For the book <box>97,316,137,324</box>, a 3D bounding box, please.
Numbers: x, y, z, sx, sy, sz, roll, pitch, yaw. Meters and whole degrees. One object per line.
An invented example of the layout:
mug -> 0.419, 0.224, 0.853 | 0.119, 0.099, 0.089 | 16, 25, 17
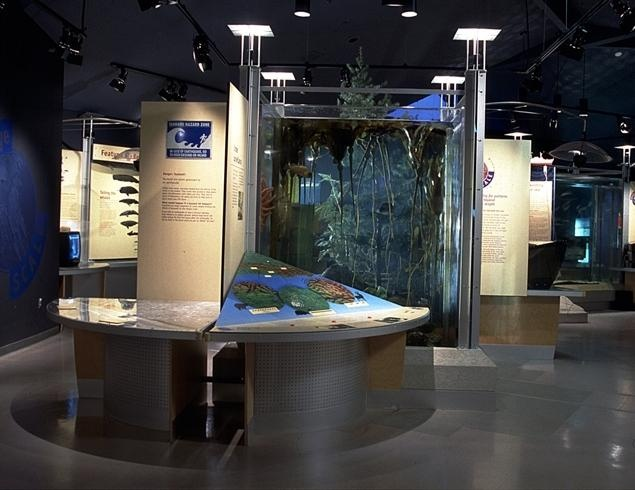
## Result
book -> -1.453, 0.550, 3.616 | 0.302, 0.004, 0.266 | 1, 4, -1

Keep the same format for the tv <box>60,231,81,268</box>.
tv -> -3.651, 0.070, 7.375 | 0.285, 0.509, 0.188 | -2, 5, -41

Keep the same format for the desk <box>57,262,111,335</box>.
desk -> -3.516, 0.743, 7.707 | 0.454, 0.870, 1.516 | 1, 4, -4
